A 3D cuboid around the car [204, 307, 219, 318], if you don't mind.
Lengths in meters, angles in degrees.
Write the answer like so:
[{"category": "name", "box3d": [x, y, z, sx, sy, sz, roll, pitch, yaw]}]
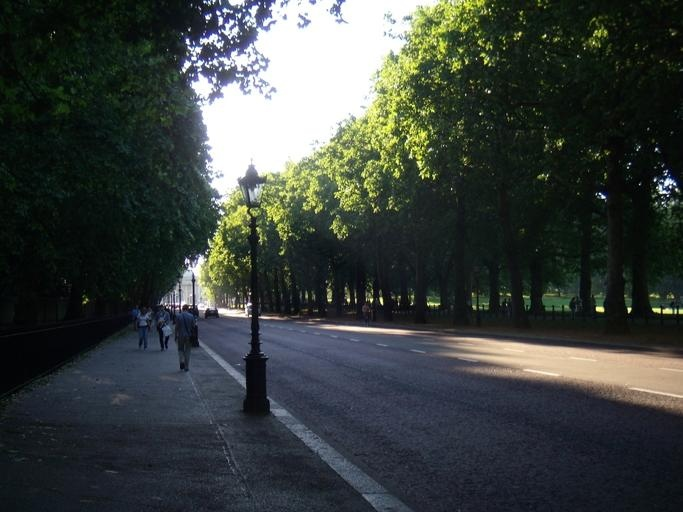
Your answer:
[{"category": "car", "box3d": [-16.044, 7.039, 86.294, 1.086, 0.889, 2.013, 1, 2, -4]}]
